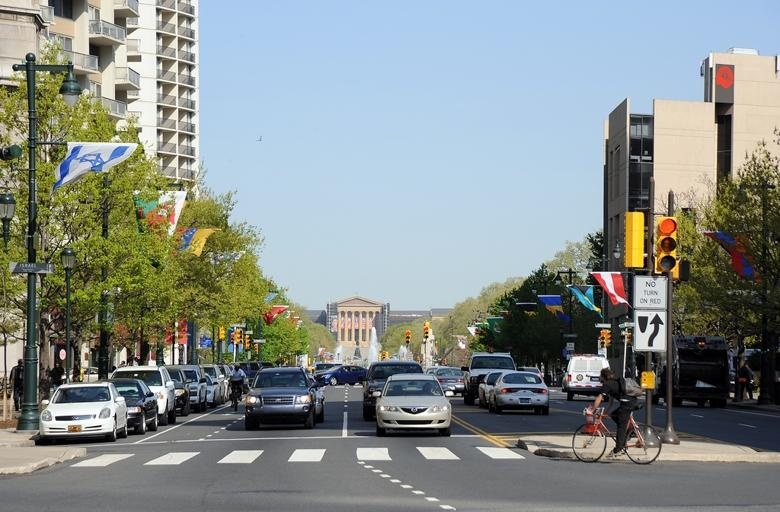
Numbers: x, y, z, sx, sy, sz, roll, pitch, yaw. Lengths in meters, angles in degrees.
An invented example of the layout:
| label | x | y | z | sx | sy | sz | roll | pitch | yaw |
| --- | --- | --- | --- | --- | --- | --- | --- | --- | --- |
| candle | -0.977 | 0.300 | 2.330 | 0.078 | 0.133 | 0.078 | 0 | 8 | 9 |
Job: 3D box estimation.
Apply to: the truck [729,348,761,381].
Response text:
| label | x | y | z | sx | sy | sz | roll | pitch | yaw |
| --- | --- | --- | --- | --- | --- | --- | --- | --- | --- |
| truck | 25.884 | 7.951 | 86.049 | 2.424 | 3.419 | 1.115 | 4 | 2 | 5 |

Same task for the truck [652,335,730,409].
| label | x | y | z | sx | sy | sz | roll | pitch | yaw |
| --- | --- | --- | --- | --- | --- | --- | --- | --- | --- |
| truck | 17.095 | 6.702 | 69.034 | 3.570 | 4.006 | 6.996 | 2 | -5 | -5 |

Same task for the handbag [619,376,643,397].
| label | x | y | z | sx | sy | sz | roll | pitch | yaw |
| --- | --- | --- | --- | --- | --- | --- | --- | --- | --- |
| handbag | 8.112 | 4.423 | 39.602 | 0.607 | 0.646 | 0.950 | -3 | -8 | 12 |

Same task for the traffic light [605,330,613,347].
| label | x | y | z | sx | sy | sz | roll | pitch | yaw |
| --- | --- | --- | --- | --- | --- | --- | --- | --- | --- |
| traffic light | 17.567 | 6.592 | 94.820 | 0.191 | 0.981 | 2.216 | -4 | -8 | 18 |

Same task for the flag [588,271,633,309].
| label | x | y | z | sx | sy | sz | roll | pitch | yaw |
| --- | --- | --- | --- | --- | --- | --- | --- | --- | --- |
| flag | 13.531 | 2.015 | 72.227 | 0.402 | 2.217 | 3.100 | -26 | 14 | -32 |

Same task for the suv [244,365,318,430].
| label | x | y | z | sx | sy | sz | roll | pitch | yaw |
| --- | --- | --- | --- | --- | --- | --- | --- | --- | --- |
| suv | -4.366 | 5.796 | 48.693 | 2.614 | 2.585 | 2.948 | -5 | -8 | 26 |

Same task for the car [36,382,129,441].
| label | x | y | z | sx | sy | sz | roll | pitch | yaw |
| --- | --- | --- | --- | --- | --- | --- | --- | --- | --- |
| car | -11.710 | 5.927 | 44.943 | 3.231 | 2.242 | 1.753 | 1 | -8 | -19 |

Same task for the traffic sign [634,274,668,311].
| label | x | y | z | sx | sy | sz | roll | pitch | yaw |
| --- | --- | --- | --- | --- | --- | --- | --- | --- | --- |
| traffic sign | 9.187 | 1.356 | 41.711 | 1.117 | 1.160 | 0.113 | 2 | -3 | 6 |

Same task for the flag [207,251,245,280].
| label | x | y | z | sx | sy | sz | roll | pitch | yaw |
| --- | --- | --- | --- | --- | --- | --- | --- | --- | --- |
| flag | -11.270 | 0.575 | 80.752 | 2.222 | 1.788 | 0.693 | 1 | -7 | -21 |

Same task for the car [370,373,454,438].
| label | x | y | z | sx | sy | sz | roll | pitch | yaw |
| --- | --- | --- | --- | --- | --- | --- | --- | --- | --- |
| car | 0.838 | 5.837 | 45.984 | 2.776 | 2.350 | 2.699 | -1 | -7 | -3 |

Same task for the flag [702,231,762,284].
| label | x | y | z | sx | sy | sz | roll | pitch | yaw |
| --- | --- | --- | --- | --- | --- | --- | --- | --- | --- |
| flag | 19.540 | 0.063 | 66.568 | 2.168 | 2.896 | 4.588 | -6 | -8 | 28 |

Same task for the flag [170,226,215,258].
| label | x | y | z | sx | sy | sz | roll | pitch | yaw |
| --- | --- | --- | --- | --- | --- | --- | --- | --- | --- |
| flag | -12.234 | -0.835 | 72.583 | 1.777 | 0.798 | 2.802 | 26 | 9 | -18 |

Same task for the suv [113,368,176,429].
| label | x | y | z | sx | sy | sz | roll | pitch | yaw |
| --- | --- | --- | --- | --- | --- | --- | --- | --- | --- |
| suv | -10.572 | 5.887 | 52.195 | 1.623 | 1.545 | 3.420 | -1 | -10 | 3 |

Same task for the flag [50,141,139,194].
| label | x | y | z | sx | sy | sz | roll | pitch | yaw |
| --- | --- | --- | --- | --- | --- | --- | --- | --- | --- |
| flag | -12.997 | -3.787 | 51.144 | 3.049 | 2.070 | 0.475 | 4 | -20 | 3 |

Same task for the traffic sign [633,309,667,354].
| label | x | y | z | sx | sy | sz | roll | pitch | yaw |
| --- | --- | --- | --- | --- | --- | --- | --- | --- | --- |
| traffic sign | 9.139 | 2.588 | 41.464 | 1.362 | 1.646 | 0.176 | 1 | -9 | -3 |
